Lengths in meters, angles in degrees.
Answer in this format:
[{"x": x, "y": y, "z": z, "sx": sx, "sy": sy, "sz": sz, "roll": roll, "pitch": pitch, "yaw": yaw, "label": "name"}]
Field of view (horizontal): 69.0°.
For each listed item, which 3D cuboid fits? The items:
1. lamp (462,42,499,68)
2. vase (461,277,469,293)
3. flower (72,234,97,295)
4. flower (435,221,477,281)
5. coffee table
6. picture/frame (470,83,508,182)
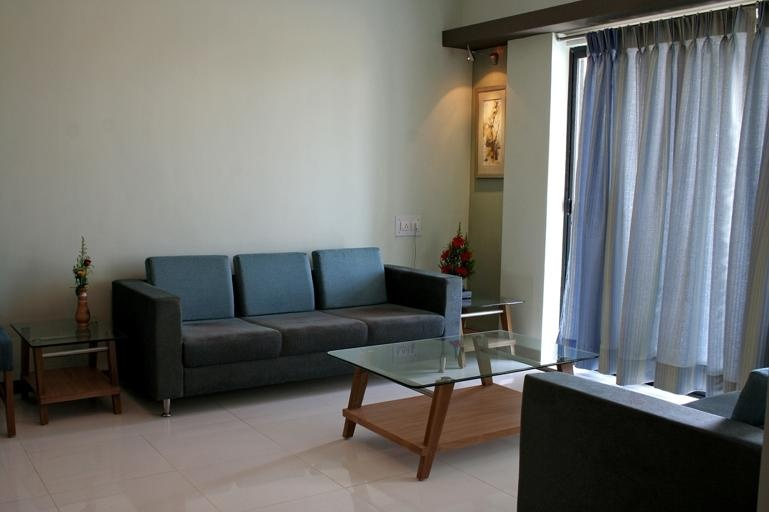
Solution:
[{"x": 1.015, "y": -2.089, "z": 5.851, "sx": 0.304, "sy": 0.187, "sz": 0.199, "roll": 2, "pitch": 4, "yaw": -25, "label": "lamp"}, {"x": 0.809, "y": 0.285, "z": 5.649, "sx": 0.147, "sy": 0.145, "sz": 0.079, "roll": 0, "pitch": -4, "yaw": -43, "label": "vase"}, {"x": -2.328, "y": 0.074, "z": 4.321, "sx": 0.129, "sy": 0.404, "sz": 0.429, "roll": -5, "pitch": 12, "yaw": -27, "label": "flower"}, {"x": 0.737, "y": -0.034, "z": 5.812, "sx": 0.319, "sy": 0.415, "sz": 0.334, "roll": 9, "pitch": -10, "yaw": 6, "label": "flower"}, {"x": 0.398, "y": 0.858, "z": 3.649, "sx": 1.397, "sy": 0.541, "sz": 0.845, "roll": -4, "pitch": 9, "yaw": -40, "label": "coffee table"}, {"x": 1.112, "y": -1.307, "z": 5.934, "sx": 0.131, "sy": 0.934, "sz": 0.486, "roll": -6, "pitch": 13, "yaw": -31, "label": "picture/frame"}]
